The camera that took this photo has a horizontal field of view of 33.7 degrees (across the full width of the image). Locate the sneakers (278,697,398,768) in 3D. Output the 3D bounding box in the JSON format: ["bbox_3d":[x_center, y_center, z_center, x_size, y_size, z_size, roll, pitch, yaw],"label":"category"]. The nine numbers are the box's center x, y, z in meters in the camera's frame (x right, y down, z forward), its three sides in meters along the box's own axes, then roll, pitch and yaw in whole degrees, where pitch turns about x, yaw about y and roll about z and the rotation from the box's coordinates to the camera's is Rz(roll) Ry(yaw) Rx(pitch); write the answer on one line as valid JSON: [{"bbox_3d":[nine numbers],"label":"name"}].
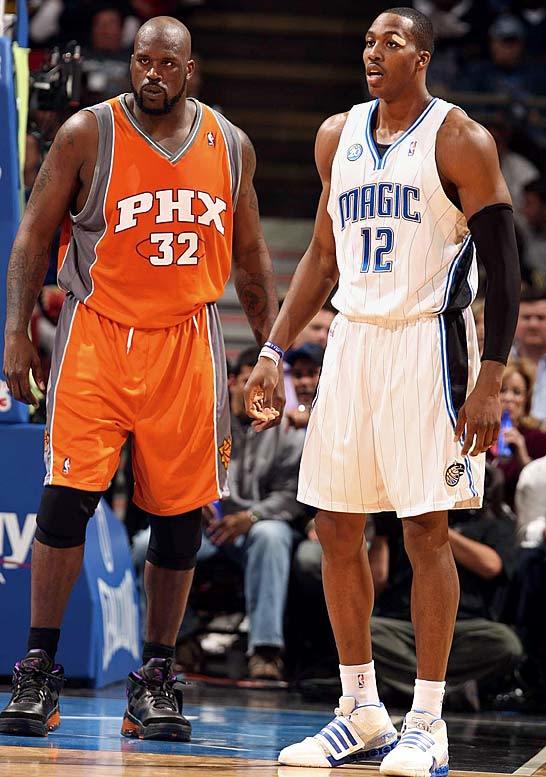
[{"bbox_3d":[0.143,0.798,2.125,0.337,0.144,0.113,3,-5,-33],"label":"sneakers"}]

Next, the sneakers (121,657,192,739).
[{"bbox_3d":[-0.298,0.799,2.287,0.117,0.166,0.278,9,-19,-20],"label":"sneakers"}]

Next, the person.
[{"bbox_3d":[-0.012,-0.009,2.162,1.117,1.804,0.863,5,11,12],"label":"person"}]
